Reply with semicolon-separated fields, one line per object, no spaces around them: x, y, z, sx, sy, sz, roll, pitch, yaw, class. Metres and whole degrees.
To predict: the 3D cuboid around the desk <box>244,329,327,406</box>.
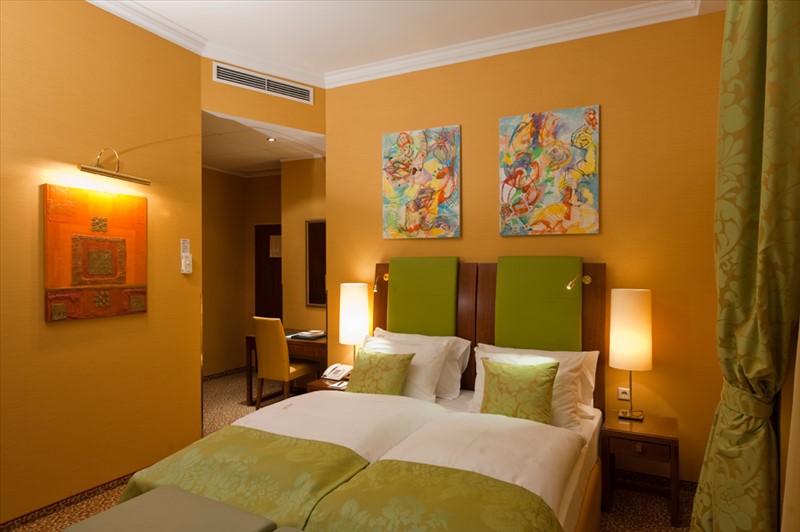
-1.452;1.308;6.531;0.726;0.898;1.070;14;-12;-19;desk

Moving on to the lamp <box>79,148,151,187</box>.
-2.325;-0.824;4.409;0.528;0.194;0.154;8;7;-42;lamp

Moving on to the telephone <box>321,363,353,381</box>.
-0.580;1.023;5.255;0.202;0.072;0.217;2;5;30;telephone

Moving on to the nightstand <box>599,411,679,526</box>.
1.859;1.565;4.257;0.554;0.710;0.504;-1;1;26;nightstand
